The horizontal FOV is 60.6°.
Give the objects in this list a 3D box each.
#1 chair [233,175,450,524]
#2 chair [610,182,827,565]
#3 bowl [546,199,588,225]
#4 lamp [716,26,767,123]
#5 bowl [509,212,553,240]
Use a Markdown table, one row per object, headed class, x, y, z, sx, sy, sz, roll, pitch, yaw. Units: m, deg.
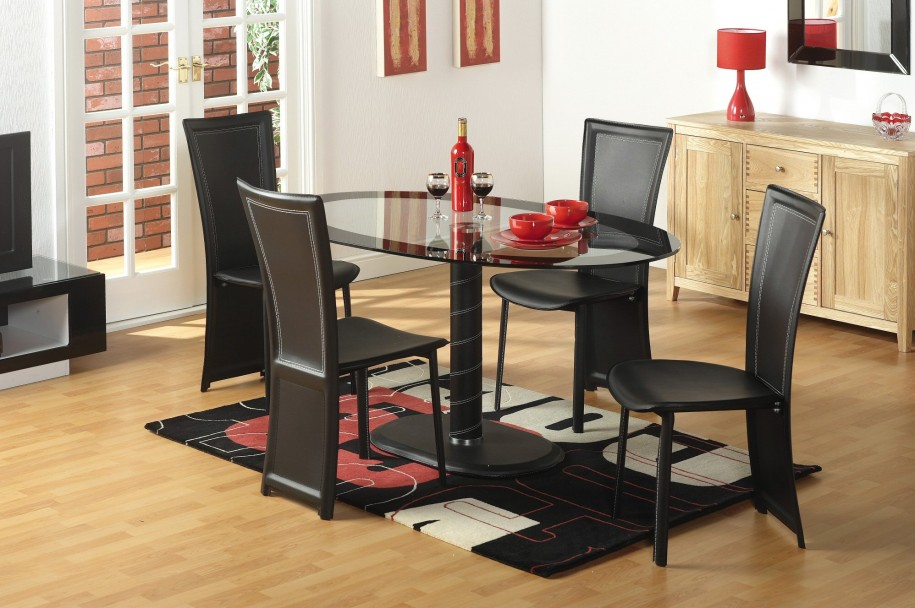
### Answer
| class | x | y | z | sx | sy | sz | roll | pitch | yaw |
| --- | --- | --- | --- | --- | --- | --- | --- | --- | --- |
| chair | -0.457 | 0.154 | 2.971 | 0.703 | 1.232 | 0.504 | -6 | 18 | -11 |
| chair | 0.861 | 0.224 | 2.710 | 0.655 | 1.222 | 0.585 | -3 | 17 | -1 |
| bowl | 0.454 | -0.382 | 3.234 | 0.162 | 0.064 | 0.142 | -6 | 9 | -27 |
| lamp | 1.870 | -1.511 | 5.183 | 0.304 | 0.610 | 0.434 | 4 | 17 | 19 |
| bowl | 0.282 | -0.297 | 3.028 | 0.179 | 0.064 | 0.145 | -1 | 8 | -1 |
